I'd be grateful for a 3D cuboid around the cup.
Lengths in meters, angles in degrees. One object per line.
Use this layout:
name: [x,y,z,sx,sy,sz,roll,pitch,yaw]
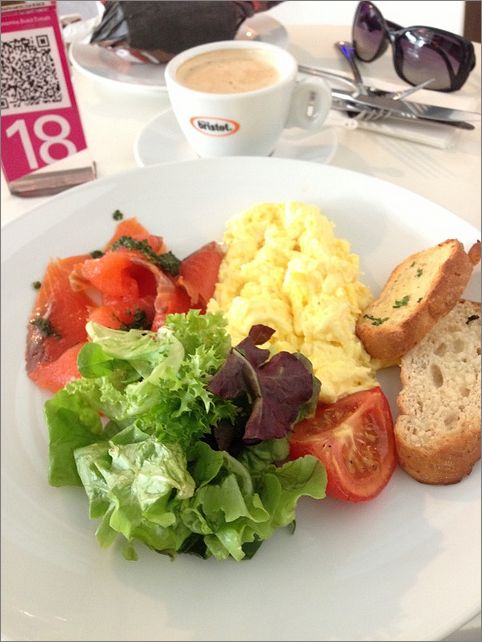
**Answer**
cup: [-0.042,-0.611,1.617,0.389,0.264,0.444,33,50,31]
